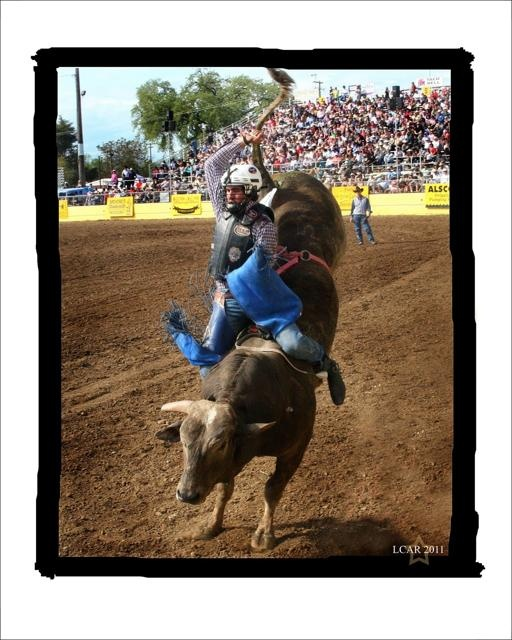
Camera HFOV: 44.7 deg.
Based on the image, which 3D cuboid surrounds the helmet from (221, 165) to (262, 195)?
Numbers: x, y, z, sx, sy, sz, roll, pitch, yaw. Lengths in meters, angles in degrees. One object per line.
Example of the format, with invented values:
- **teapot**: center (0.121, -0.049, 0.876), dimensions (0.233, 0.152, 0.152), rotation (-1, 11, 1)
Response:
- **helmet**: center (-0.138, -1.354, 5.994), dimensions (0.374, 0.290, 0.247), rotation (-5, 12, -2)

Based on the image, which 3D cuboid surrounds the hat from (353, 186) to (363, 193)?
- **hat**: center (2.489, -3.113, 15.048), dimensions (0.186, 0.232, 0.095), rotation (-3, 39, 2)
